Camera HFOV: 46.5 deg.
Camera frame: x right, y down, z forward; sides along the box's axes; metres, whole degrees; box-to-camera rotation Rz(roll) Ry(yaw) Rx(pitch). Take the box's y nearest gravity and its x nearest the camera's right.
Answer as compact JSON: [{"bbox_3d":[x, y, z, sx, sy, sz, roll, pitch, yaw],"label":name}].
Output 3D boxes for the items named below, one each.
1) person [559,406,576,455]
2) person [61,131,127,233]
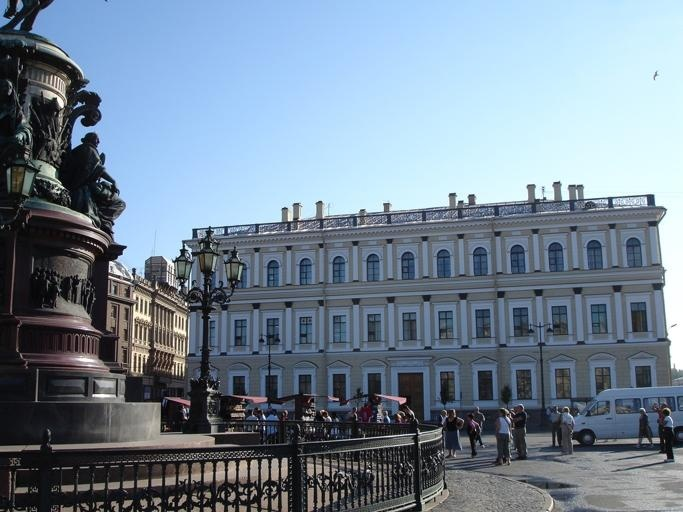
[{"bbox_3d":[7.736,5.960,27.257,0.450,1.609,1.408,-6,-14,14],"label":"person"},{"bbox_3d":[-5.594,-1.529,17.832,0.496,1.966,1.319,-12,-17,33],"label":"person"}]
